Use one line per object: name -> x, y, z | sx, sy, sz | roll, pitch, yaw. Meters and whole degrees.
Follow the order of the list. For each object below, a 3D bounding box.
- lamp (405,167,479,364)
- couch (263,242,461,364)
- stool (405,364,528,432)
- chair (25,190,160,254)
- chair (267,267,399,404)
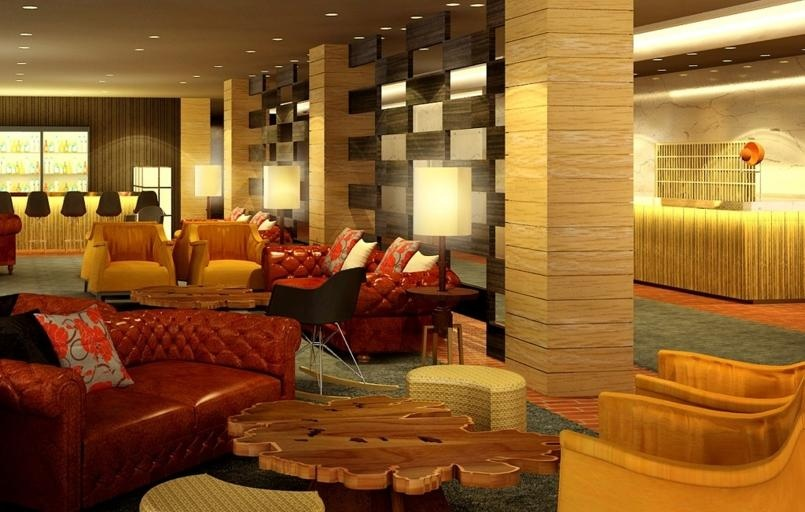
lamp -> 0.408, 0.098, 5.890 | 0.712, 2.072, 0.818 | 1, 7, 0
couch -> -0.520, 0.749, 6.746 | 1.762, 0.911, 2.788 | -1, 3, -20
stool -> 0.549, 1.058, 4.133 | 0.894, 0.302, 0.664 | -1, 2, 41
chair -> -7.742, -0.809, 13.235 | 2.779, 0.837, 0.570 | 0, 6, -5
chair -> -0.815, 0.704, 5.350 | 1.256, 0.916, 1.037 | -1, -20, 25
